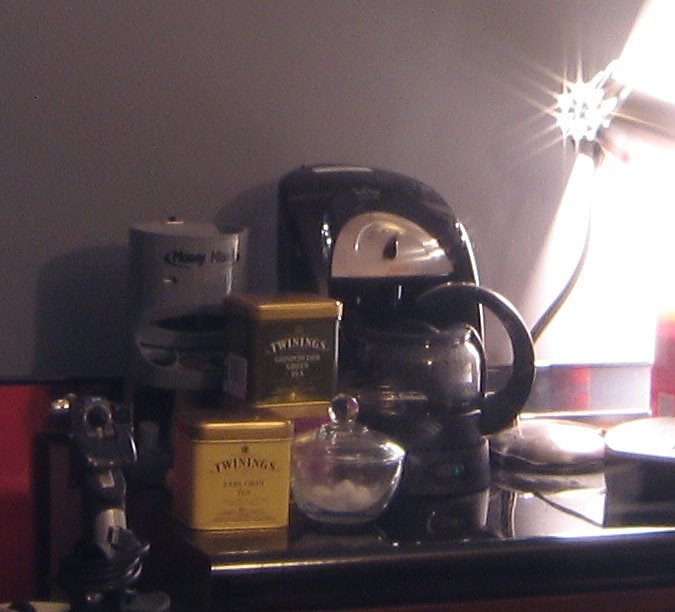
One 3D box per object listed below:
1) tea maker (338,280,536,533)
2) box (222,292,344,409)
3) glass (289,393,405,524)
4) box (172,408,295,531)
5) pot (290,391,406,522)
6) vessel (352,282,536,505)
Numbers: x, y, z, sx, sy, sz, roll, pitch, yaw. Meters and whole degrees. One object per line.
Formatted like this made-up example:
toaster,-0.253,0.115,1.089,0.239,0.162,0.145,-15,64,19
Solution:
tea maker,0.145,0.108,1.215,0.260,0.284,0.206,1,6,13
box,-0.073,0.044,1.074,0.129,0.140,0.135,1,5,-17
glass,0.009,0.191,1.070,0.147,0.158,0.141,-1,4,-45
box,-0.122,0.194,0.975,0.128,0.138,0.130,2,0,-11
pot,0.008,0.191,1.069,0.145,0.157,0.145,1,3,0
vessel,0.163,0.104,1.201,0.260,0.290,0.170,-3,4,-11
